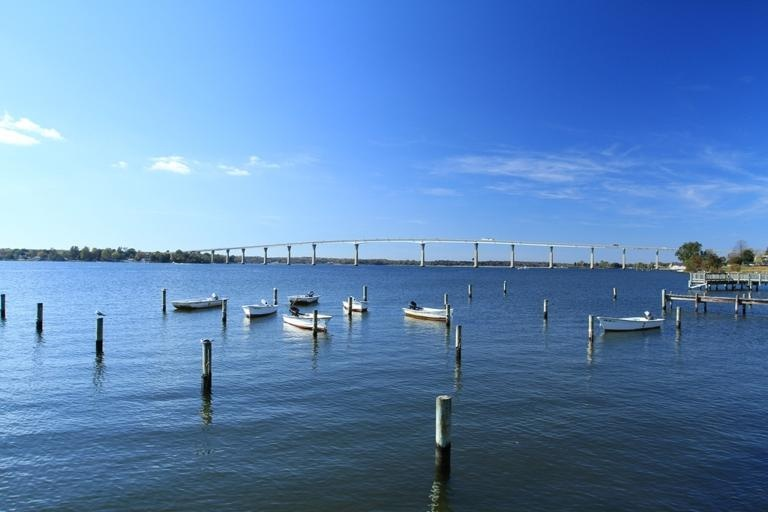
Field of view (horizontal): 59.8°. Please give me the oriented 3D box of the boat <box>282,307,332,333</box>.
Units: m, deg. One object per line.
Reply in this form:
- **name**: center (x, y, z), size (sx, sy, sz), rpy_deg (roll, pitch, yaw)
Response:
- **boat**: center (-8.099, 6.405, 66.360), size (2.181, 1.814, 5.974), rpy_deg (0, -3, -42)

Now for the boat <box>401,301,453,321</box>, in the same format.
- **boat**: center (5.019, 6.247, 74.319), size (1.974, 1.448, 5.585), rpy_deg (-2, 0, -44)

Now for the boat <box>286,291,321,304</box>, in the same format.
- **boat**: center (-10.810, 5.800, 90.466), size (5.084, 1.530, 1.716), rpy_deg (-4, 8, -35)

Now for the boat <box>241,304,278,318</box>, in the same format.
- **boat**: center (-13.781, 6.148, 75.079), size (1.063, 1.562, 4.141), rpy_deg (5, 7, 34)

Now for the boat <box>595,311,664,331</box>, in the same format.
- **boat**: center (25.459, 6.411, 68.595), size (8.106, 1.576, 3.055), rpy_deg (5, -11, -26)
